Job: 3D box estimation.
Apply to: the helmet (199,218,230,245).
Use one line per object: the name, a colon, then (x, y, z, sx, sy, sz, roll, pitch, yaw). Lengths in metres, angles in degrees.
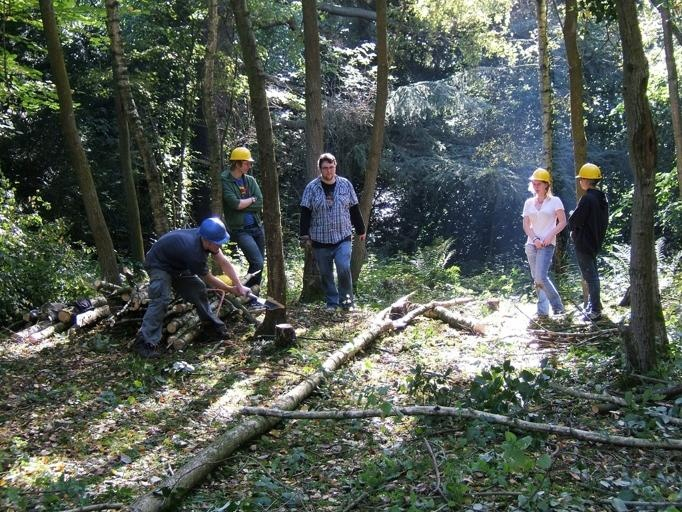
helmet: (-1.617, -0.277, 7.825, 0.384, 0.295, 0.229, 18, -37, -22)

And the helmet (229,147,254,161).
helmet: (-1.633, -1.676, 9.887, 0.328, 0.166, 0.256, 3, 7, 13)

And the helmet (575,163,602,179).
helmet: (3.623, -1.220, 8.928, 0.313, 0.199, 0.387, -3, 13, -7)

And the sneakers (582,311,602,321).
sneakers: (3.508, 0.838, 8.443, 0.211, 0.104, 0.287, -2, -3, -7)

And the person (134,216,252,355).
person: (-2.054, 0.315, 8.243, 1.503, 1.749, 1.017, -1, 18, -36)

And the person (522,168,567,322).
person: (3.142, -0.164, 9.310, 0.617, 2.292, 0.992, -1, 14, 17)

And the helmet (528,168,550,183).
helmet: (3.135, -1.247, 9.426, 0.310, 0.198, 0.394, 10, 2, 39)

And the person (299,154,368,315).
person: (-0.152, -0.426, 9.894, 0.808, 2.467, 0.863, 1, 15, 24)

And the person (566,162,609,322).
person: (3.575, -0.217, 8.767, 0.508, 2.138, 0.939, 1, 15, 22)
